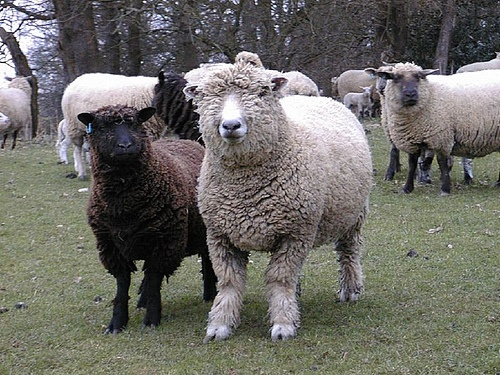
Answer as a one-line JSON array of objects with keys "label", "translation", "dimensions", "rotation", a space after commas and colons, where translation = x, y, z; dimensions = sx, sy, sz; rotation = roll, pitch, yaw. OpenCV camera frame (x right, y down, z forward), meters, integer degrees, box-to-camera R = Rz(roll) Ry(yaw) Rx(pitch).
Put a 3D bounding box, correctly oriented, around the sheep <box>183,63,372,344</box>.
[{"label": "sheep", "translation": [0.337, 0.103, 6.116], "dimensions": [2.088, 2.982, 1.194], "rotation": [-9, 13, -43]}]
